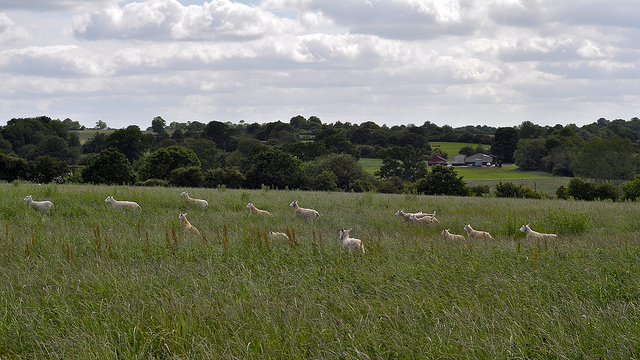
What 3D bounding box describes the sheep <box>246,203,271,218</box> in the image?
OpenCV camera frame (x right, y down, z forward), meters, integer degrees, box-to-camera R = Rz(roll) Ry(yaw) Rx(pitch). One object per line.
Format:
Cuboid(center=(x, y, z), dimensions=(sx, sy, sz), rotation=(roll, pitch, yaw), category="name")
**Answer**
Cuboid(center=(-5.764, 2.785, 73.001), dimensions=(2.585, 1.188, 1.246), rotation=(1, 3, 11), category="sheep")
